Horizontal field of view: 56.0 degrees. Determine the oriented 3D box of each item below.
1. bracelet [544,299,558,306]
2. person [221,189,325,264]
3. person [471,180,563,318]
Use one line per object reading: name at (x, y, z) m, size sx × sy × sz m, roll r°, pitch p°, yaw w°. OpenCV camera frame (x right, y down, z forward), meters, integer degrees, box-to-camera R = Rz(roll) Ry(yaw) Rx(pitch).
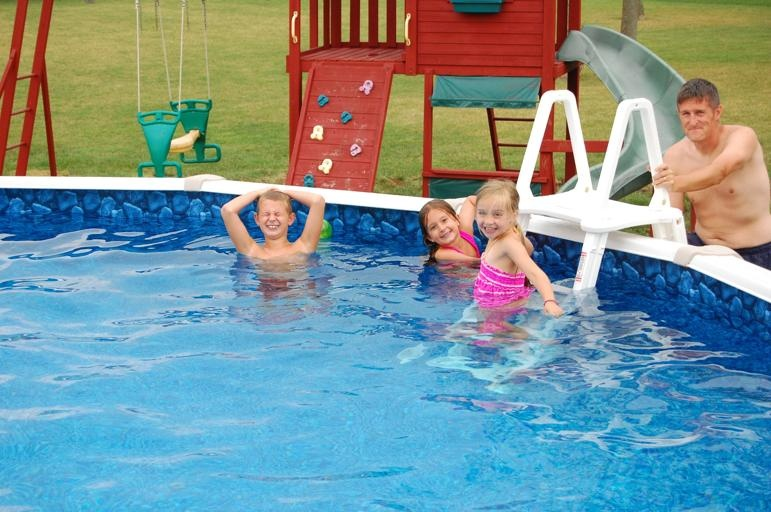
bracelet at (1.121, 0.314, 4.957) m, size 0.079 × 0.044 × 0.093 m, roll 2°, pitch 14°, yaw 8°
person at (-0.976, -0.255, 6.459) m, size 0.967 × 0.720 × 0.361 m, roll -5°, pitch 10°, yaw -12°
person at (0.995, -0.026, 5.474) m, size 0.563 × 1.166 × 1.222 m, roll 0°, pitch 7°, yaw -3°
